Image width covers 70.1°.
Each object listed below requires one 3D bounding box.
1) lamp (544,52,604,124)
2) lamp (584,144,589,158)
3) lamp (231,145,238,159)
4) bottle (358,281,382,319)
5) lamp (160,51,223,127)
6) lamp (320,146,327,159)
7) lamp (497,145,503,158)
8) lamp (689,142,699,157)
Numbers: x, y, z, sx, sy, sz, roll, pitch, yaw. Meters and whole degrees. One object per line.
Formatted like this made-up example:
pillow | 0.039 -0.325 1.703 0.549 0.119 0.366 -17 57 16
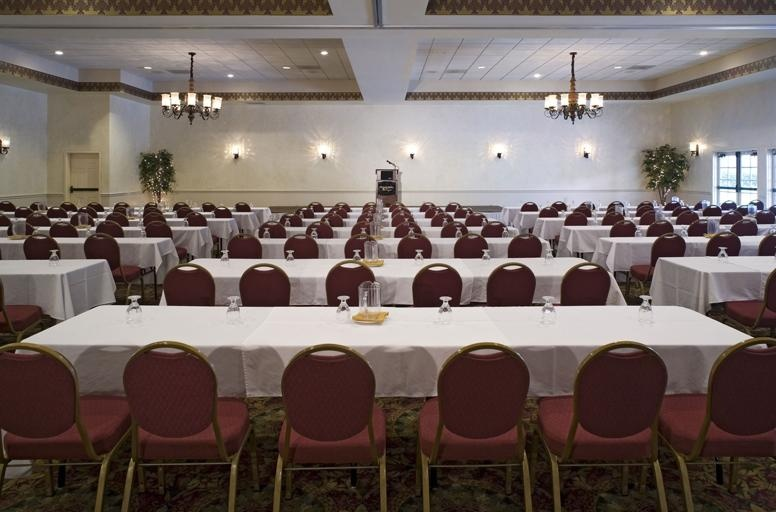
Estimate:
lamp | 4.241 -3.887 12.672 1.283 1.441 1.107 -10 17 -28
lamp | 6.479 -3.388 18.012 0.202 0.415 0.102 0 7 12
lamp | -4.972 -3.366 18.021 0.204 0.413 0.118 -3 7 -12
bottle | -0.164 0.373 4.423 0.166 0.309 0.293 6 19 13
lamp | -4.710 -4.011 13.243 1.364 1.809 1.494 0 3 3
lamp | -2.094 -3.331 18.034 0.177 0.342 0.098 -3 7 -12
lamp | 3.641 -3.387 18.005 0.267 0.284 0.341 0 -3 3
lamp | 9.206 -3.201 16.609 0.183 0.411 0.401 -1 8 5
